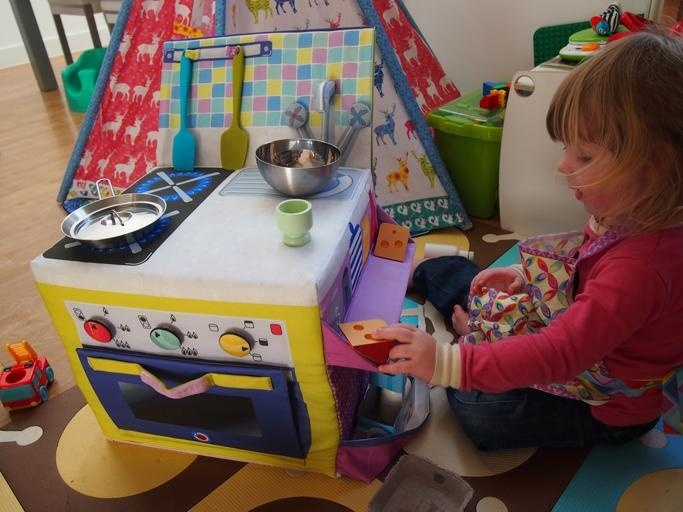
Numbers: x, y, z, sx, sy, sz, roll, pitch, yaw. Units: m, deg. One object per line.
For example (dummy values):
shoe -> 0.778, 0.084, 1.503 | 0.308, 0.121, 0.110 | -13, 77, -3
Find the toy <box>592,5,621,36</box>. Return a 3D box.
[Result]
toy -> 0.919, -0.817, 1.811 | 0.053, 0.061, 0.153 | -4, 43, 37

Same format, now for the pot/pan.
pot/pan -> -0.495, -0.080, 1.151 | 0.215, 0.058, 0.171 | -20, 34, -25

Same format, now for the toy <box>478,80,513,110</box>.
toy -> 0.611, -0.641, 2.077 | 0.135, 0.049, 0.133 | -22, 31, -30

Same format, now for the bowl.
bowl -> -0.097, -0.189, 1.249 | 0.180, 0.089, 0.183 | 0, 14, 0

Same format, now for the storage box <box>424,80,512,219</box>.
storage box -> 0.506, -0.398, 2.058 | 0.280, 0.326, 0.477 | 12, 37, 34
